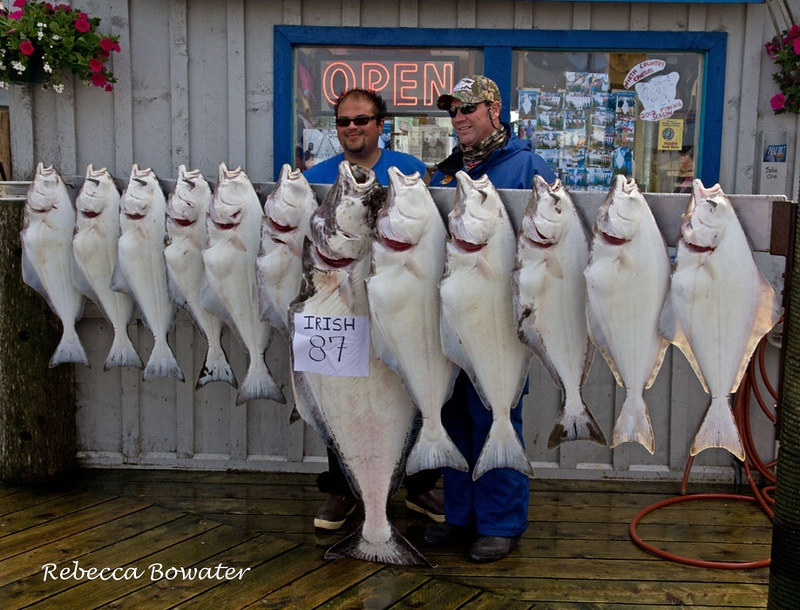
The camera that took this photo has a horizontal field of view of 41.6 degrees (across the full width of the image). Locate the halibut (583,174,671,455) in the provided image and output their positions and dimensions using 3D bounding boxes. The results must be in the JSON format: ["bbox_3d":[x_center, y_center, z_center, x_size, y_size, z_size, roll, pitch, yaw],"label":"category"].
[{"bbox_3d":[1.014,0.036,4.639,0.383,1.220,0.248,-3,8,-1],"label":"halibut"}]

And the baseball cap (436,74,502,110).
[{"bbox_3d":[0.371,-1.089,5.452,0.261,0.156,0.195,9,-2,-20],"label":"baseball cap"}]

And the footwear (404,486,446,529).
[{"bbox_3d":[0.149,1.122,5.808,0.101,0.116,0.267,-4,7,-44],"label":"footwear"}]

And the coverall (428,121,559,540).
[{"bbox_3d":[0.513,0.138,5.631,0.653,2.153,0.803,-2,0,11],"label":"coverall"}]

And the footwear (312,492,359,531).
[{"bbox_3d":[-0.356,1.140,5.745,0.105,0.125,0.300,0,0,22],"label":"footwear"}]

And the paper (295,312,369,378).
[{"bbox_3d":[-0.315,0.168,4.841,0.269,0.233,0.023,1,14,-2],"label":"paper"}]

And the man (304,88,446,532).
[{"bbox_3d":[-0.049,-0.025,6.058,0.971,2.248,0.818,-1,3,7],"label":"man"}]

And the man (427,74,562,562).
[{"bbox_3d":[0.537,0.053,5.774,0.966,2.245,0.770,0,3,33],"label":"man"}]

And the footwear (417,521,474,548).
[{"bbox_3d":[0.238,1.214,5.544,0.294,0.134,0.112,3,5,-10],"label":"footwear"}]

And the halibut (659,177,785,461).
[{"bbox_3d":[1.388,0.067,4.569,0.489,1.225,0.283,0,9,21],"label":"halibut"}]
